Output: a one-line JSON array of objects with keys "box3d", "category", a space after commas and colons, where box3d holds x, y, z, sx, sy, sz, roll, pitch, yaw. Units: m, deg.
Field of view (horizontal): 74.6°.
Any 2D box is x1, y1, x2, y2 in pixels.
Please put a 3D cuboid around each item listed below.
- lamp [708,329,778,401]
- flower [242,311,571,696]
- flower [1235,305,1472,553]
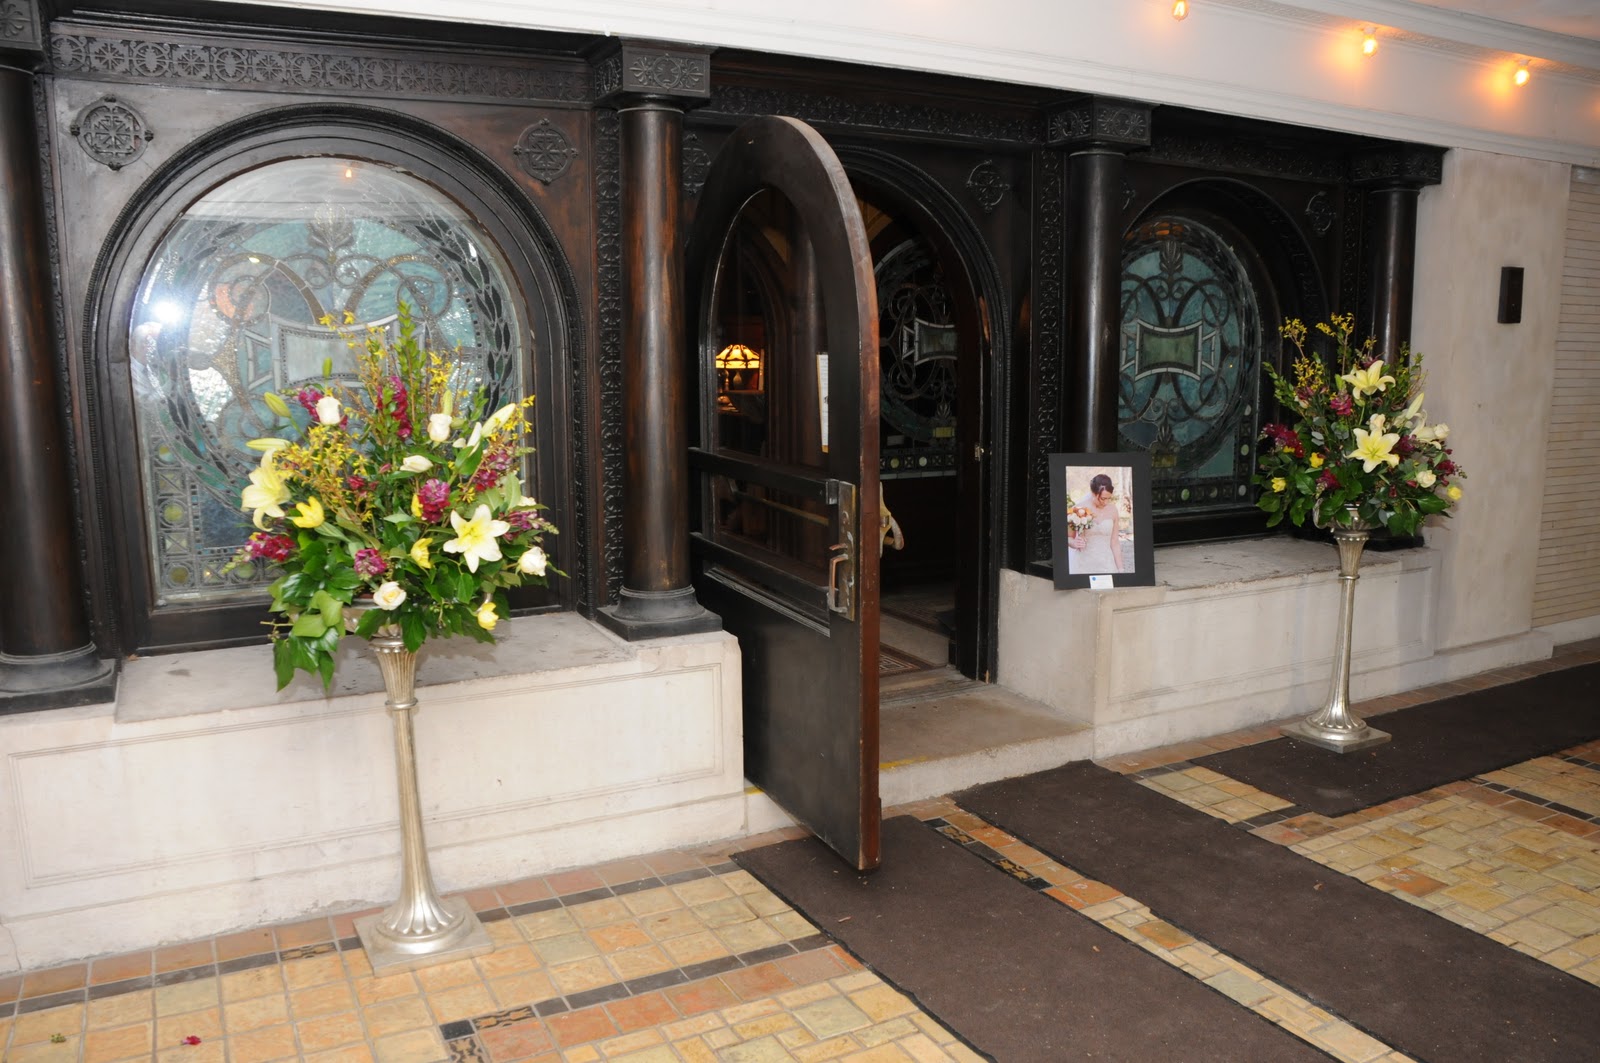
[{"box3d": [-0.268, -0.754, 4.744, 0.244, 0.242, 0.241, -3, 17, -4], "category": "lamp"}, {"box3d": [-1.540, -0.089, 3.898, 0.926, 1.422, 1.138, -9, 12, -25], "category": "flower"}, {"box3d": [3.193, -0.604, 5.947, 0.931, 0.950, 1.235, -32, 2, 10], "category": "flower"}]
